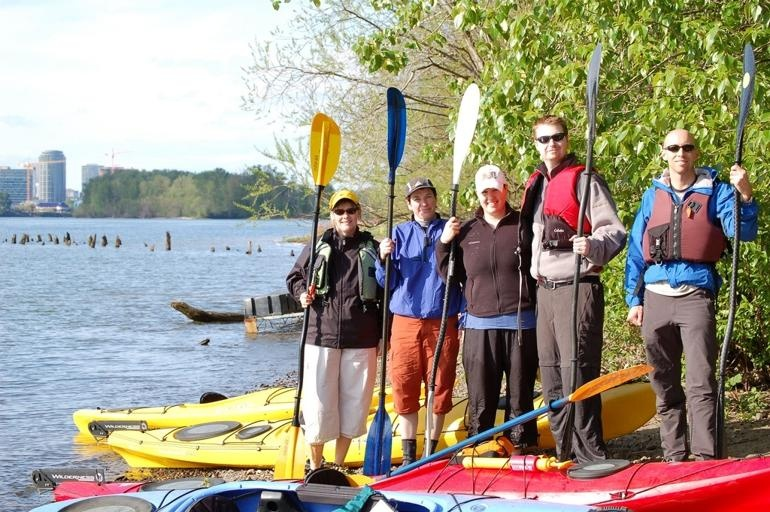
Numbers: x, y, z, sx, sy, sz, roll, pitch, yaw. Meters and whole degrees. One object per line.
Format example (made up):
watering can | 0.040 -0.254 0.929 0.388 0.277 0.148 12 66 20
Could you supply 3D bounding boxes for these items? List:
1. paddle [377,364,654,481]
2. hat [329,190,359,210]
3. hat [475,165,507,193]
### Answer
paddle | 1.404 1.849 12.754 2.902 0.211 0.322 -25 30 18
hat | -0.480 -0.639 13.238 0.331 0.231 0.278 0 -2 3
hat | 1.152 -0.838 12.732 0.316 0.313 0.179 -1 -2 5
